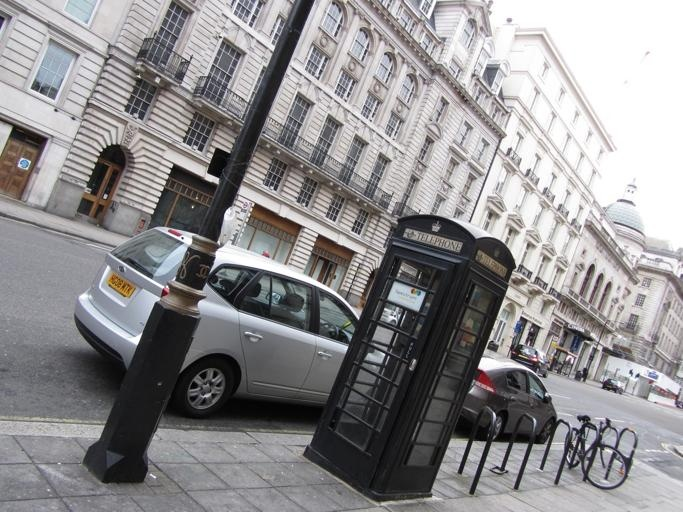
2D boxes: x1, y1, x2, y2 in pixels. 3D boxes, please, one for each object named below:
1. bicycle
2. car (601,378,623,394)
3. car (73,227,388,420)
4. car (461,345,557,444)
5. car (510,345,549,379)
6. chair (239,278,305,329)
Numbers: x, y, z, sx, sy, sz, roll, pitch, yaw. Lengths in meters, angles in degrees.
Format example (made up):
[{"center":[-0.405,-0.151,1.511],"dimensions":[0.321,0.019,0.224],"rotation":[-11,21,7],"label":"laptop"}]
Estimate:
[{"center":[5.319,4.002,11.331],"dimensions":[1.132,1.013,1.647],"rotation":[15,-6,32],"label":"bicycle"},{"center":[27.568,13.257,56.305],"dimensions":[1.447,1.211,3.284],"rotation":[12,1,39],"label":"car"},{"center":[-1.466,1.409,8.372],"dimensions":[4.251,1.925,2.447],"rotation":[17,0,-35],"label":"car"},{"center":[3.704,3.216,12.616],"dimensions":[3.429,1.742,1.586],"rotation":[18,-2,-38],"label":"car"},{"center":[13.223,7.318,38.370],"dimensions":[1.893,1.604,4.394],"rotation":[15,-4,33],"label":"car"},{"center":[-0.955,0.661,8.082],"dimensions":[0.987,0.591,0.411],"rotation":[7,-17,-43],"label":"chair"}]
